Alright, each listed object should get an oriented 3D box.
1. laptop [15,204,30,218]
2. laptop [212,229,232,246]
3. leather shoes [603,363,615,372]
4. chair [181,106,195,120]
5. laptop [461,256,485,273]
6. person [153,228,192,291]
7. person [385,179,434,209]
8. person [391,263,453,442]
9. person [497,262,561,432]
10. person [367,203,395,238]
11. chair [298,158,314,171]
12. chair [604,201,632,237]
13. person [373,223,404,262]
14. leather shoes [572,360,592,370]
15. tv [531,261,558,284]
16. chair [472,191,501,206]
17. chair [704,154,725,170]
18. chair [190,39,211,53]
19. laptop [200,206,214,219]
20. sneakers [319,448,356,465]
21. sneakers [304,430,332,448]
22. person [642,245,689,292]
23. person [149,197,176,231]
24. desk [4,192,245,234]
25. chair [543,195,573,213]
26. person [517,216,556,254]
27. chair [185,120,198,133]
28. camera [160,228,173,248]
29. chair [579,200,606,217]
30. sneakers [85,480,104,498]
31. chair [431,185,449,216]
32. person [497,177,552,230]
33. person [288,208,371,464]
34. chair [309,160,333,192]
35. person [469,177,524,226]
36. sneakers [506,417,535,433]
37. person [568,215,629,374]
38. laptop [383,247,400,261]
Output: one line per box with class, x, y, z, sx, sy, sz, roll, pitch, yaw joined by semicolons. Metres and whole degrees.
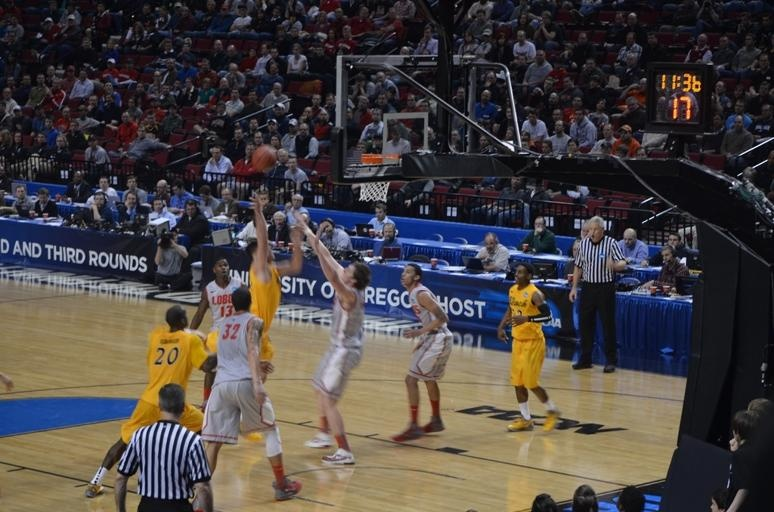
laptop;-8.634;-1.052;24.408;0.406;0.296;0.280;4;3;28
laptop;-3.458;-0.393;21.592;0.343;0.273;0.335;-11;-3;-36
leather shoes;3.712;1.835;17.177;0.231;0.115;0.167;-1;13;-6
chair;-5.436;-3.837;28.051;0.349;0.476;0.394;1;7;0
laptop;1.697;0.162;19.834;0.323;0.289;0.212;5;8;33
person;-4.653;0.059;22.113;0.821;1.333;1.001;0;2;20
person;0.523;-1.392;23.457;1.088;0.656;0.640;3;13;9
person;0.497;1.296;14.264;0.769;2.369;1.059;1;13;3
person;1.932;1.270;14.760;0.684;2.267;0.735;-6;14;-26
person;-0.170;-0.636;21.520;0.605;0.858;0.485;3;7;21
chair;-1.941;-2.175;24.683;0.288;0.401;0.311;11;19;29
chair;4.610;-0.726;20.674;0.602;0.825;0.727;2;5;30
person;0.019;-0.245;20.777;0.570;0.894;0.500;7;14;17
leather shoes;3.273;1.807;17.331;0.331;0.148;0.131;0;5;-8
tv;2.876;0.254;19.055;0.555;0.502;0.288;3;3;29
chair;2.194;-1.217;22.466;0.388;0.399;0.408;2;2;35
chair;6.732;-1.929;21.172;0.457;0.282;0.376;7;14;26
chair;-5.495;-6.217;30.567;0.514;0.688;0.539;0;6;-9
laptop;-4.048;-0.976;23.204;0.357;0.251;0.090;4;-13;18
sneakers;-0.643;2.556;13.456;0.407;0.210;0.192;2;3;2
sneakers;-0.940;2.458;14.015;0.355;0.240;0.180;2;2;4
person;4.895;0.235;18.121;0.754;0.776;0.649;4;13;13
person;-4.981;-0.910;22.878;0.700;0.708;0.398;-2;-9;3
desk;-6.098;-0.886;23.642;5.379;0.999;0.716;-1;-11;18
chair;3.611;-1.049;21.566;0.412;0.366;0.429;2;2;21
person;2.957;-0.401;20.255;0.588;0.684;0.841;7;9;36
chair;-5.234;-3.482;27.590;0.358;0.406;0.474;5;4;0
camera;-4.702;-0.339;21.948;0.145;0.235;0.374;-2;-4;-20
chair;4.248;-0.959;21.253;0.377;0.516;0.453;3;4;33
sneakers;-3.551;2.810;12.501;0.105;0.149;0.333;3;-17;4
chair;1.164;-1.188;23.101;0.351;0.571;0.866;1;13;2
person;3.122;-1.109;21.831;0.518;1.142;0.626;10;-4;5
person;-0.657;1.127;13.339;0.855;3.091;1.045;0;13;-3
chair;-1.562;-1.872;24.167;0.537;0.613;1.006;0;13;-5
person;2.548;-1.168;22.210;1.047;1.274;0.863;-7;14;-31
sneakers;1.887;2.375;14.749;0.428;0.193;0.160;-2;6;-4
person;3.491;0.623;17.140;0.809;2.512;0.536;4;13;13
laptop;0.073;-0.047;20.269;0.331;0.218;0.236;1;12;-23
